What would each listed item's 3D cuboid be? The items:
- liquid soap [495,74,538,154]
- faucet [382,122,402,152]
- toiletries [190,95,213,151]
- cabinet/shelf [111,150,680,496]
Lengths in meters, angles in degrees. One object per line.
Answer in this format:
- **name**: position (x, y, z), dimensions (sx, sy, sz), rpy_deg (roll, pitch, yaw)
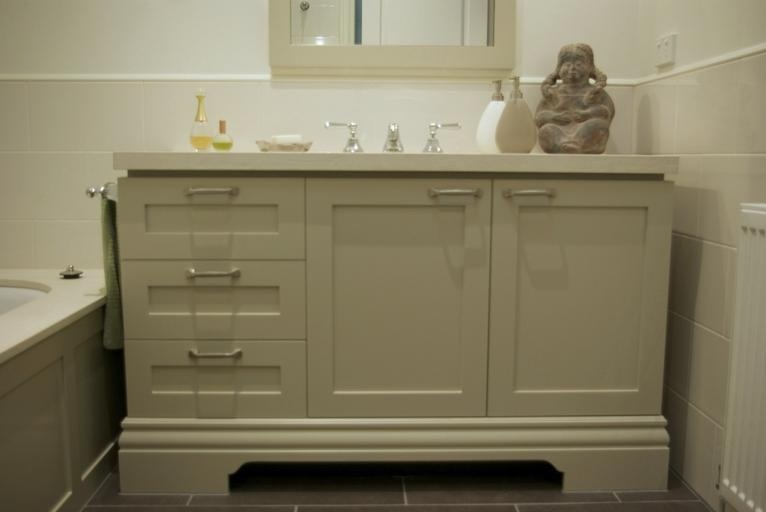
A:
- **liquid soap**: position (0.486, -0.477, 2.460), dimensions (0.147, 0.196, 0.067), rpy_deg (-1, 10, 12)
- **faucet**: position (0.042, -0.463, 2.601), dimensions (0.099, 0.140, 0.105), rpy_deg (0, 16, 2)
- **toiletries**: position (-0.679, -0.503, 2.522), dimensions (0.077, 0.207, 0.171), rpy_deg (-4, 10, -8)
- **cabinet/shelf**: position (0.040, 0.173, 2.593), dimensions (1.866, 1.274, 0.661), rpy_deg (0, 16, -2)
